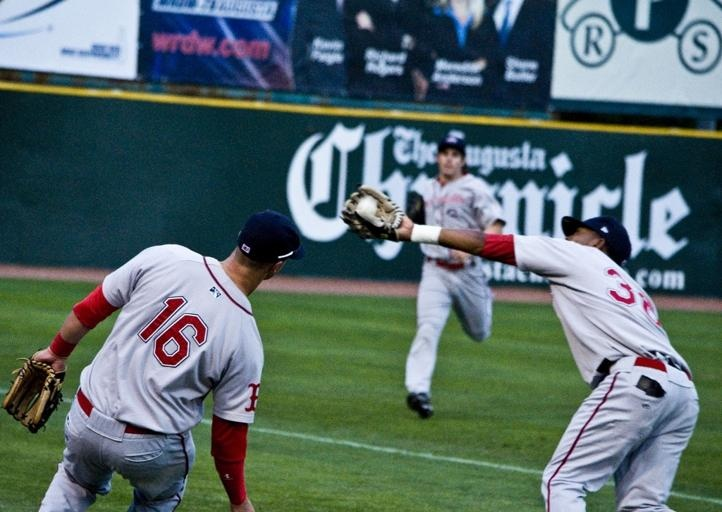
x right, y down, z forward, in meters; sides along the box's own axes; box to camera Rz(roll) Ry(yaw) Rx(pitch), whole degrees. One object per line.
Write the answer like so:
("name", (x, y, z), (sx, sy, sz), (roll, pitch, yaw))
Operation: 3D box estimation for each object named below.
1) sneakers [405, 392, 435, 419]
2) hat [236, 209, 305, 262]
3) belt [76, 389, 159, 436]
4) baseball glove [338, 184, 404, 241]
("sneakers", (0.550, 1.376, 11.295), (0.182, 0.247, 0.113), (-21, -8, 2))
("hat", (-0.642, -0.152, 8.893), (0.326, 0.252, 0.444), (32, 29, 21))
("belt", (-1.795, 1.057, 8.802), (0.379, 0.093, 0.392), (15, 6, 8))
("baseball glove", (0.035, -0.353, 9.581), (0.459, 0.236, 0.537), (22, -26, -21))
